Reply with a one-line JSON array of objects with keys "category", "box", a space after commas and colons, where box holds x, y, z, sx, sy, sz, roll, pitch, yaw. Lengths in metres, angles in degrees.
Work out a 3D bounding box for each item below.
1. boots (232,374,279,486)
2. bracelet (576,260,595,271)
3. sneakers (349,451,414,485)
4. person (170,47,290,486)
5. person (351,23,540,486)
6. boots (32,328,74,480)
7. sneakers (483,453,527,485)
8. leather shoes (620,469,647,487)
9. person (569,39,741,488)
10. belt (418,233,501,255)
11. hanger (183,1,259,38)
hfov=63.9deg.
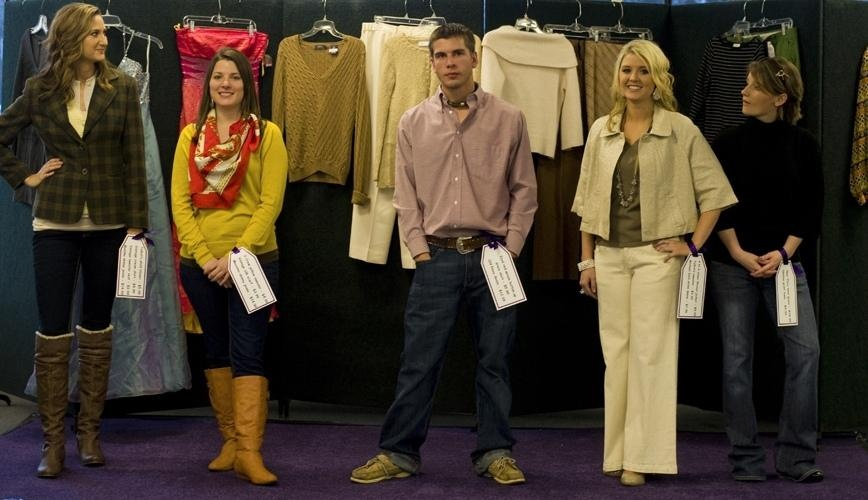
[{"category": "boots", "box": [-1.118, 1.094, 4.314, 0.240, 0.618, 0.360, -1, 6, -17]}, {"category": "bracelet", "box": [0.986, 0.100, 4.502, 0.087, 0.037, 0.074, -10, -9, -22]}, {"category": "sneakers", "box": [-0.321, 1.363, 4.390, 0.434, 0.170, 0.156, 1, -2, -17]}, {"category": "person", "box": [-1.225, 0.074, 4.418, 0.826, 2.654, 0.482, 4, 7, 32]}, {"category": "person", "box": [0.126, 0.193, 4.318, 0.973, 2.445, 0.464, 1, 6, 7]}, {"category": "boots", "box": [-2.421, 0.970, 4.430, 0.225, 0.862, 0.343, -3, 7, -27]}, {"category": "sneakers", "box": [0.439, 1.358, 4.326, 0.132, 0.105, 0.269, 4, -6, -39]}, {"category": "leather shoes", "box": [1.252, 1.397, 4.292, 0.191, 0.082, 0.086, -1, 6, -15]}, {"category": "person", "box": [1.330, 0.072, 4.334, 0.924, 2.715, 0.464, 1, 6, 9]}, {"category": "belt", "box": [0.189, -0.037, 4.335, 0.470, 0.119, 0.080, 0, 6, -1]}, {"category": "hanger", "box": [-1.646, -1.768, 5.297, 0.573, 0.297, 0.228, 0, 6, -7]}]
